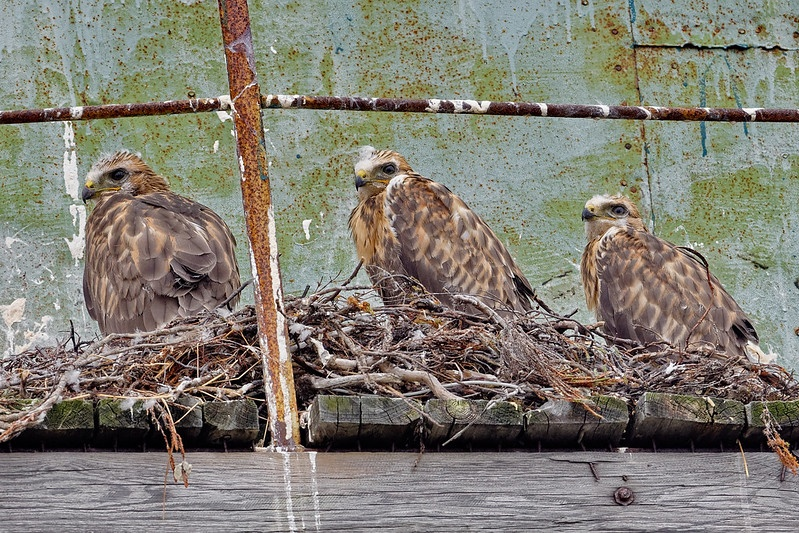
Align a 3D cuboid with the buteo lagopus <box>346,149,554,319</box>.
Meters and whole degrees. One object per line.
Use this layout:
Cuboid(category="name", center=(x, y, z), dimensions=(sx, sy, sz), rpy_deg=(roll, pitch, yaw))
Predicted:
Cuboid(category="buteo lagopus", center=(0.275, -0.259, 13.361), dimensions=(1.442, 1.135, 0.807), rpy_deg=(4, 14, 9))
